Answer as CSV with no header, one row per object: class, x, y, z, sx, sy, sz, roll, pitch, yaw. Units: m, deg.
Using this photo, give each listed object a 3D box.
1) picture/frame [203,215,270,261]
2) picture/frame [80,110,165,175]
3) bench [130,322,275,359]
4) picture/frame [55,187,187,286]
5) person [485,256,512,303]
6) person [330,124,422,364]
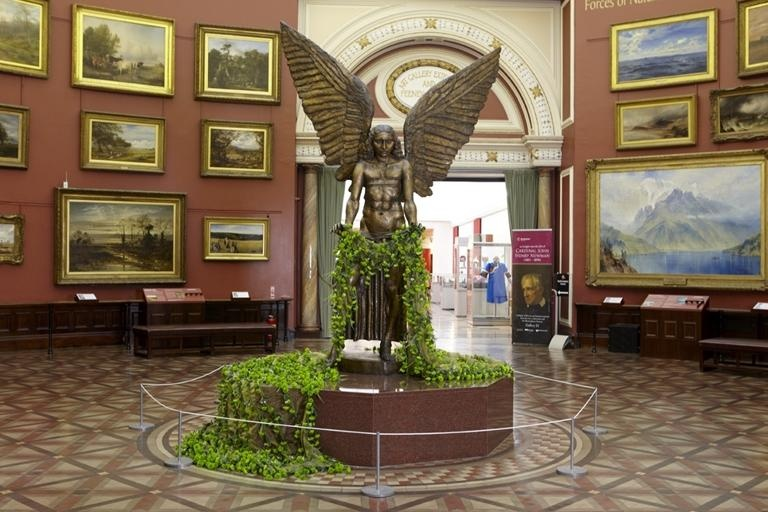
picture/frame,-3.614,-0.418,13.798,1.084,0.761,0.115,0,-2,-17
picture/frame,-5.929,-2.546,13.023,1.624,1.226,0.084,0,2,-20
bench,-3.976,1.783,12.790,3.011,0.674,1.585,0,2,-19
picture/frame,-6.066,-0.433,12.971,2.220,1.739,0.166,0,2,-19
person,3.584,0.772,18.193,0.869,1.474,0.693,1,2,-4
person,-0.042,-0.153,7.565,0.922,3.136,0.583,1,2,2
